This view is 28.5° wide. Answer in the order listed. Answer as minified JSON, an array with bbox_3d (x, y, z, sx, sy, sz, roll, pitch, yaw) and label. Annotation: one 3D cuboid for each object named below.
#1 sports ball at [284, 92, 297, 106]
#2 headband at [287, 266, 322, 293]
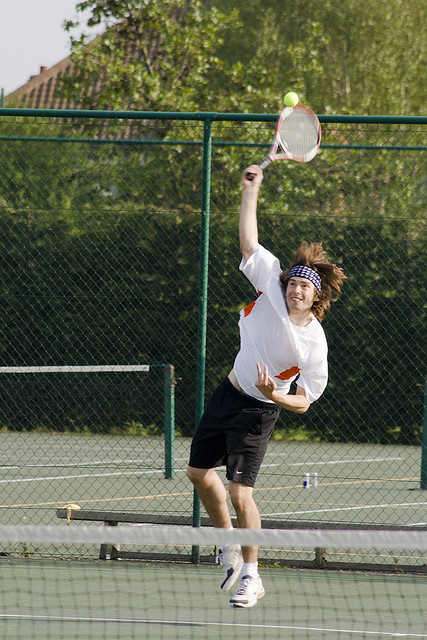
[{"bbox_3d":[0.467,-1.327,5.051,0.089,0.075,0.098,10,14,17],"label":"sports ball"},{"bbox_3d":[0.479,-0.215,4.423,0.150,0.074,0.142,19,1,-5],"label":"headband"}]
